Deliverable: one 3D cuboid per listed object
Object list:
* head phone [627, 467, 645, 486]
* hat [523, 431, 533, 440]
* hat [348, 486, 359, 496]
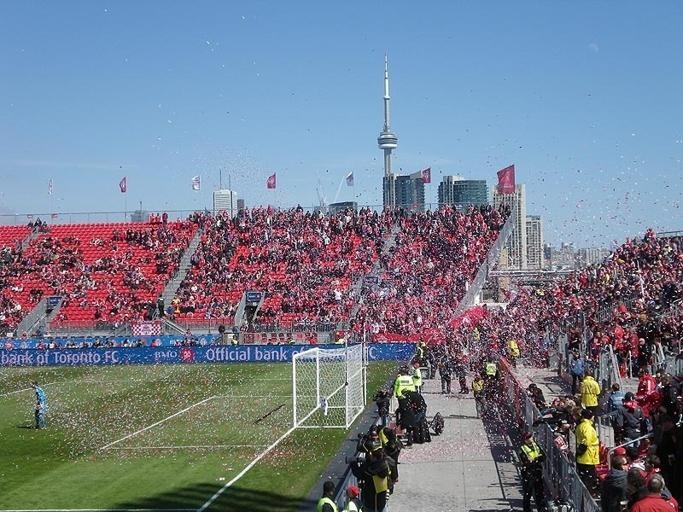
[{"bbox_3d":[6.505,4.806,18.774,0.278,0.422,0.403,5,30,6],"label":"head phone"},{"bbox_3d":[5.040,4.810,23.002,0.200,0.200,0.377,0,-2,10],"label":"hat"},{"bbox_3d":[0.277,5.251,19.242,0.250,0.242,0.278,1,-2,-9],"label":"hat"}]
